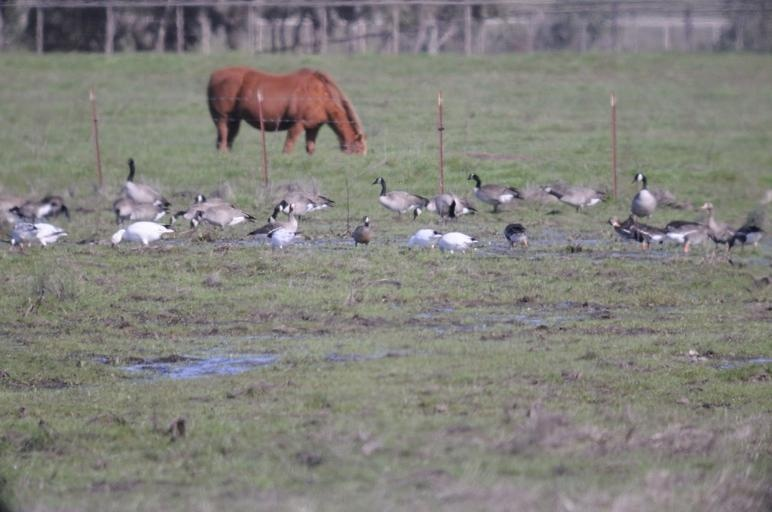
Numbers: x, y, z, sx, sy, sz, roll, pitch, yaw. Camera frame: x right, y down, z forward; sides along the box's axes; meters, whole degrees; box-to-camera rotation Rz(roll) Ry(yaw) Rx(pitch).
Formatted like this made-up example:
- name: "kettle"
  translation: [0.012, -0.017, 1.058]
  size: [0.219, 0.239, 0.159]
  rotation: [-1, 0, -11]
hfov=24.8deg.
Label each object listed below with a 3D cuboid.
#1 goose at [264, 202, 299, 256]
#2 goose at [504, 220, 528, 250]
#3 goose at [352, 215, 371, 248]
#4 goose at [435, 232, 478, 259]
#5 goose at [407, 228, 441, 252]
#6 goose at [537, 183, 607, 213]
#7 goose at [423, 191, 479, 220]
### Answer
- name: "goose"
  translation: [-1.805, -0.466, 30.940]
  size: [0.842, 1.054, 0.435]
  rotation: [-1, 4, -26]
- name: "goose"
  translation: [2.350, -0.459, 31.349]
  size: [0.249, 0.317, 0.563]
  rotation: [-3, 13, -7]
- name: "goose"
  translation: [-0.371, -0.463, 31.346]
  size: [0.287, 0.442, 0.551]
  rotation: [2, -4, -18]
- name: "goose"
  translation: [1.231, -0.303, 31.032]
  size: [0.606, 0.365, 0.345]
  rotation: [1, 2, 6]
- name: "goose"
  translation: [0.696, -0.365, 31.082]
  size: [0.564, 0.381, 0.463]
  rotation: [1, 12, 1]
- name: "goose"
  translation: [3.556, -1.159, 32.609]
  size: [1.156, 0.428, 0.563]
  rotation: [2, 12, 5]
- name: "goose"
  translation: [1.242, -1.008, 32.394]
  size: [1.133, 0.712, 0.379]
  rotation: [-3, -2, 5]
